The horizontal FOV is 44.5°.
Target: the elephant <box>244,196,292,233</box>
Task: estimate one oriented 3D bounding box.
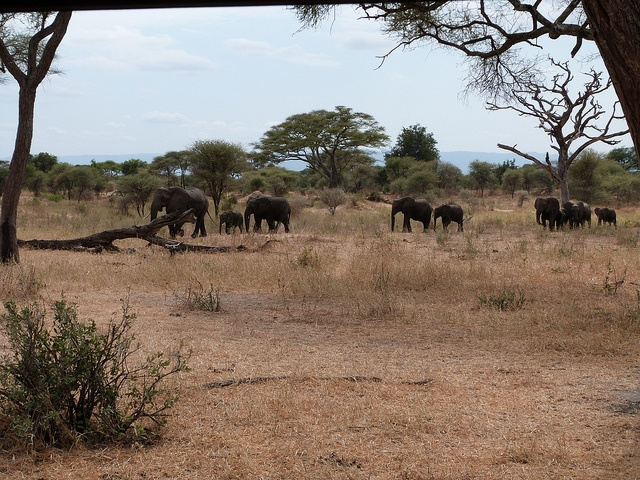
[{"bbox_3d":[-1.695,-0.887,26.317,1.113,1.223,2.081,10,16,32],"label":"elephant"}]

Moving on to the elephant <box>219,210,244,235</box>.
[{"bbox_3d":[-2.915,-0.566,25.546,0.726,0.818,1.883,0,14,-8],"label":"elephant"}]

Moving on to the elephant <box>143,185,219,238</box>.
[{"bbox_3d":[-4.280,-0.815,24.139,1.096,1.675,2.820,-1,2,36],"label":"elephant"}]

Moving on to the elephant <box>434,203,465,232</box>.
[{"bbox_3d":[4.620,-0.808,28.094,1.353,0.963,0.745,-6,15,-30],"label":"elephant"}]
